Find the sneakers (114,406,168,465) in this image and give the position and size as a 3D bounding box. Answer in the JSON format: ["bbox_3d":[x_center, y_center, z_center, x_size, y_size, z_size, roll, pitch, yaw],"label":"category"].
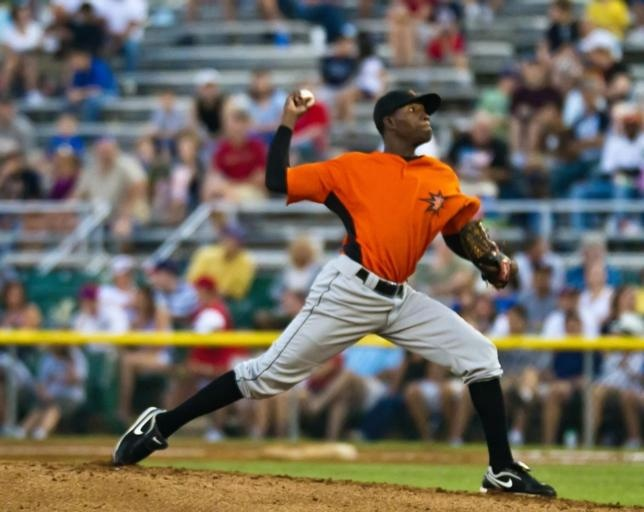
[{"bbox_3d":[-1.730,1.774,14.577,0.271,0.248,0.693,24,63,34],"label":"sneakers"}]

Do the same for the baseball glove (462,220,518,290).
[{"bbox_3d":[1.497,0.028,13.746,0.280,0.671,0.391,-34,-10,-5],"label":"baseball glove"}]

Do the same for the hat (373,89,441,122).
[{"bbox_3d":[0.797,-1.372,13.695,0.484,0.253,0.309,-24,-4,16],"label":"hat"}]
